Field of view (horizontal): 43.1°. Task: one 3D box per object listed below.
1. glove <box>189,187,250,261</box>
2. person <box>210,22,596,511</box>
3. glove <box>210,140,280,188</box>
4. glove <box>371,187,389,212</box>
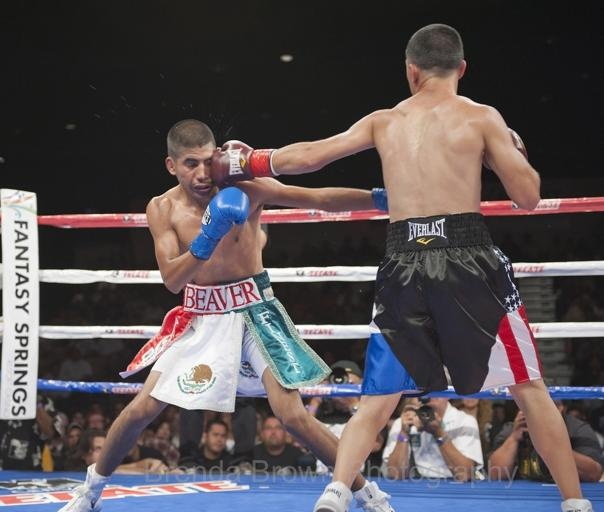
[{"bbox_3d":[-0.413,-0.170,3.937,0.272,0.365,0.152,45,26,22],"label":"glove"},{"bbox_3d":[0.527,-0.019,3.698,1.221,2.194,0.575,-4,2,-6],"label":"person"},{"bbox_3d":[-0.294,-0.479,4.011,0.299,0.126,0.202,-7,30,26],"label":"glove"},{"bbox_3d":[0.429,-0.306,4.203,0.088,0.098,0.117,5,8,26],"label":"glove"}]
